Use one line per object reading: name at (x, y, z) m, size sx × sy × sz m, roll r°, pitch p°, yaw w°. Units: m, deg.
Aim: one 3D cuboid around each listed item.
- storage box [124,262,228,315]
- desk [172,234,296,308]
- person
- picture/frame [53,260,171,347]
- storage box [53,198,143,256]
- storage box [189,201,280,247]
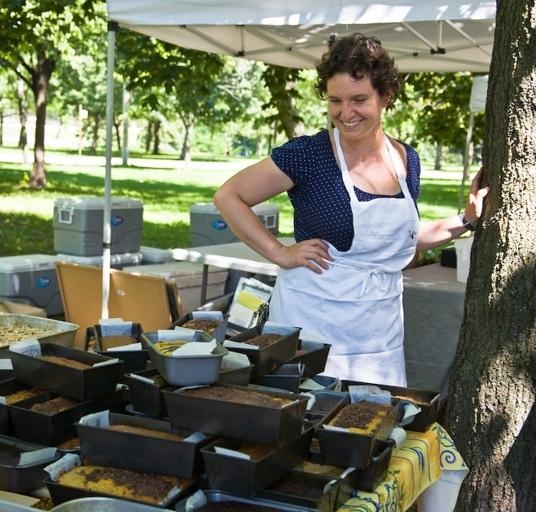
storage box at (-0.718, 0.286, 4.623) m, size 0.588 × 0.432 × 0.367 m, roll -15°, pitch 33°, yaw -32°
desk at (-0.308, 0.024, 3.898) m, size 0.680 × 0.464 × 0.567 m, roll 9°, pitch 12°, yaw -18°
person at (0.228, -0.121, 2.122) m, size 0.551 × 1.213 × 0.567 m, roll 6°, pitch 7°, yaw 37°
picture/frame at (-0.976, 0.279, 3.565) m, size 0.789 × 0.395 × 0.372 m, roll 7°, pitch 17°, yaw 17°
storage box at (-1.549, -0.250, 5.152) m, size 0.488 × 0.365 × 0.716 m, roll 9°, pitch 9°, yaw 35°
storage box at (-0.350, -0.331, 5.797) m, size 0.889 × 0.589 × 0.497 m, roll 1°, pitch 27°, yaw -2°
